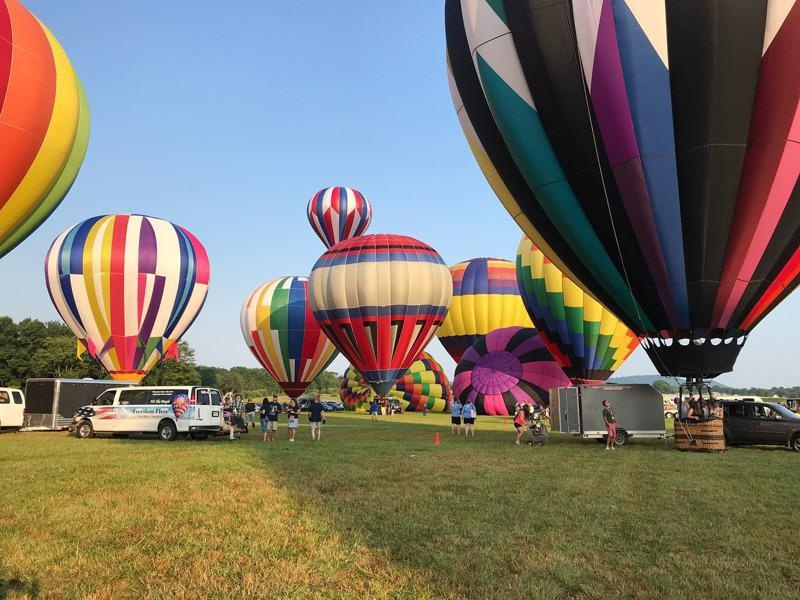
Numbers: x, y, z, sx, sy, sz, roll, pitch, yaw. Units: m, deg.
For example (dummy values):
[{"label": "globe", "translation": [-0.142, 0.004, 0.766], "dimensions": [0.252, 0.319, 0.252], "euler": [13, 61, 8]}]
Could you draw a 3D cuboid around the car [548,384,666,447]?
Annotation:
[{"label": "car", "translation": [6.492, 3.667, 19.409], "dimensions": [2.786, 2.068, 1.765], "euler": [0, -6, 3]}]

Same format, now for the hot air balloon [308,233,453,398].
[{"label": "hot air balloon", "translation": [-1.191, 1.709, 29.872], "dimensions": [5.896, 7.991, 6.780], "euler": [-5, -17, 9]}]

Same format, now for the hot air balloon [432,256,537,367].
[{"label": "hot air balloon", "translation": [5.064, -0.361, 39.634], "dimensions": [5.816, 10.074, 6.438], "euler": [-1, -8, -2]}]

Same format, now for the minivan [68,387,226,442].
[{"label": "minivan", "translation": [-8.210, 3.736, 20.137], "dimensions": [4.483, 1.815, 0.869], "euler": [-3, -11, 7]}]

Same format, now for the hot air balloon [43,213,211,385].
[{"label": "hot air balloon", "translation": [-11.675, -0.095, 26.591], "dimensions": [5.913, 7.335, 2.094], "euler": [6, -13, -32]}]
